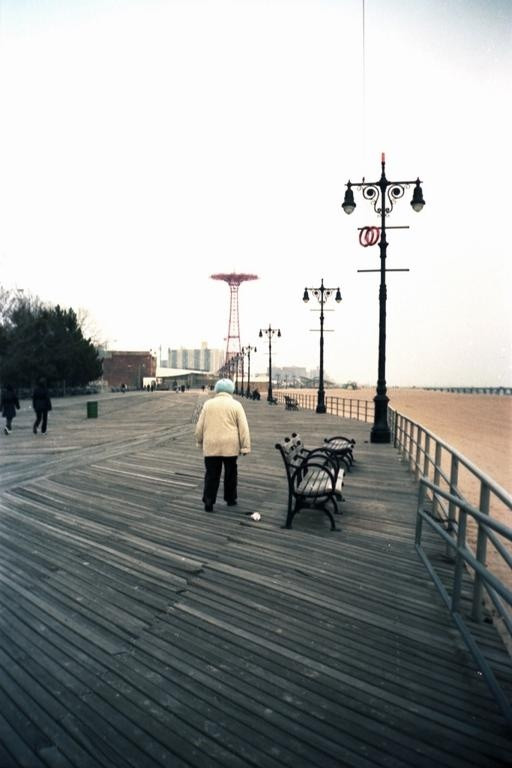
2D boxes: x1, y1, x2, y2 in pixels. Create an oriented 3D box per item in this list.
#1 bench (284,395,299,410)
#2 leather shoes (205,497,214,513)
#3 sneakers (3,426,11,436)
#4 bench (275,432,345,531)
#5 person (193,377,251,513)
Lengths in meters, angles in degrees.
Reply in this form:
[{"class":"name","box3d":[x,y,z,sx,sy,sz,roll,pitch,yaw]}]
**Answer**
[{"class":"bench","box3d":[1.582,0.792,31.222,0.452,0.851,0.541,-3,6,-22]},{"class":"leather shoes","box3d":[-0.500,1.279,7.542,0.108,0.127,0.246,2,0,-5]},{"class":"sneakers","box3d":[-6.172,1.145,17.508,0.108,0.202,0.394,0,-12,-8]},{"class":"bench","box3d":[0.635,1.020,7.675,0.564,0.930,1.761,1,0,10]},{"class":"person","box3d":[-0.359,0.641,7.580,0.553,1.203,0.555,1,0,-22]}]
